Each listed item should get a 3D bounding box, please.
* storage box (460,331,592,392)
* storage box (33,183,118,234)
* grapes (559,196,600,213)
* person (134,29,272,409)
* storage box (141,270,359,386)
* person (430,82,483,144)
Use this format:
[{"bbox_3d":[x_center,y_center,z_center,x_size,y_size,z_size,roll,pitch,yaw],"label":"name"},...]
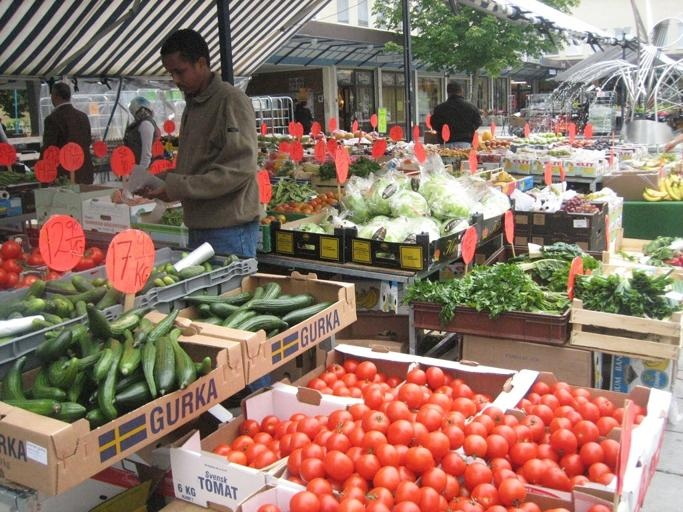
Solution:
[{"bbox_3d":[1.479,0.667,4.008,0.836,0.346,0.854,10,18,36],"label":"storage box"},{"bbox_3d":[-2.712,-0.584,5.435,0.650,0.413,0.671,4,11,20],"label":"storage box"},{"bbox_3d":[2.755,-0.573,6.112,0.348,0.158,0.362,14,25,40],"label":"grapes"},{"bbox_3d":[-1.022,-0.261,3.789,0.930,2.577,0.910,5,8,44],"label":"person"},{"bbox_3d":[-0.531,0.199,3.011,0.780,0.294,0.875,6,22,33],"label":"storage box"},{"bbox_3d":[2.181,-2.675,9.946,0.920,1.152,0.699,-6,24,0],"label":"person"}]
